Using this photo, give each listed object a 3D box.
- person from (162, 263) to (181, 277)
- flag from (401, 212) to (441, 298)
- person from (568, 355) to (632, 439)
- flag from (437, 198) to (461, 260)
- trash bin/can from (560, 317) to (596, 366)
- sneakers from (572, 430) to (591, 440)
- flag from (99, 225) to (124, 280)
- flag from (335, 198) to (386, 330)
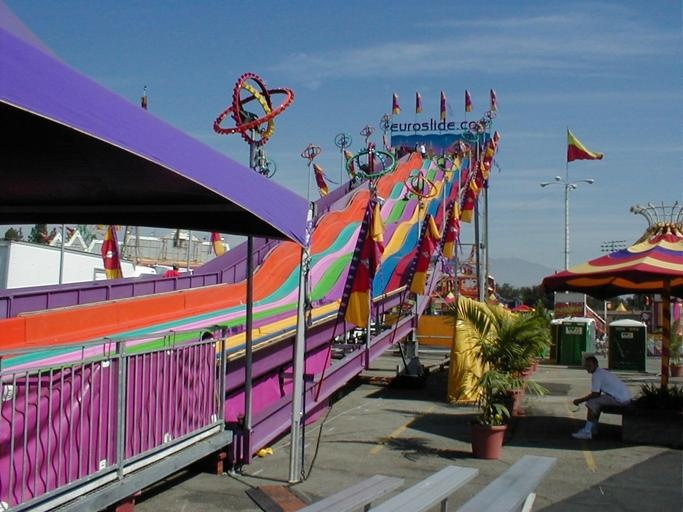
[{"bbox_3d":[-7.211,0.582,31.608,0.545,0.349,0.834,1,5,-3],"label":"person"},{"bbox_3d":[2.381,-0.023,23.011,0.718,3.408,0.704,15,-40,9],"label":"flag"},{"bbox_3d":[5.020,2.751,14.354,1.422,2.036,1.169,-1,-9,16],"label":"person"},{"bbox_3d":[3.725,-0.909,25.590,0.543,1.946,1.926,2,0,7],"label":"flag"},{"bbox_3d":[9.149,3.180,30.088,0.987,1.943,1.989,1,6,5],"label":"trash bin/can"},{"bbox_3d":[4.528,3.334,14.075,0.350,0.170,0.135,-2,-5,37],"label":"sneakers"},{"bbox_3d":[-7.402,-0.051,24.173,0.607,1.549,6.177,2,1,-17],"label":"flag"},{"bbox_3d":[0.462,0.103,14.339,0.680,2.862,0.447,3,32,-1],"label":"flag"}]
